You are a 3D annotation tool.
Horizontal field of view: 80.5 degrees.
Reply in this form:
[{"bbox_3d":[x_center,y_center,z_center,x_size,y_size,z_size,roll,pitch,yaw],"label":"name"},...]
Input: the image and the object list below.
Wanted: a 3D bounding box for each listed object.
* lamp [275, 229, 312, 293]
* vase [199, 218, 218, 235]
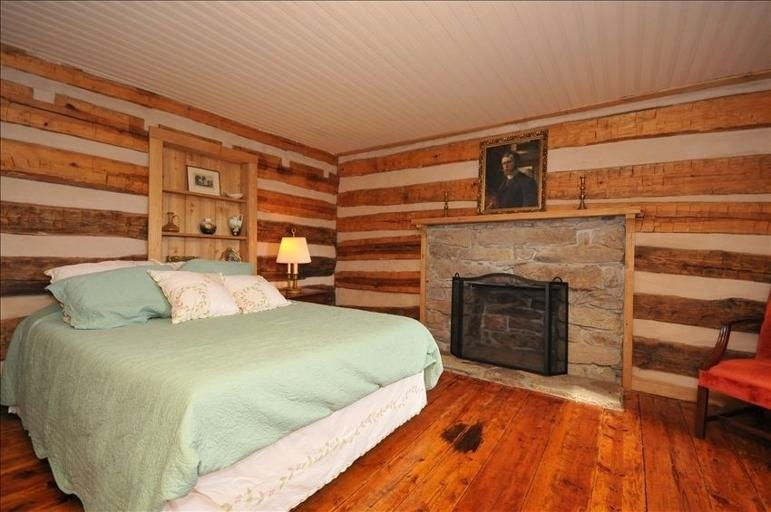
[{"bbox_3d":[-1.187,0.055,5.849,0.405,0.853,0.498,0,3,-17],"label":"lamp"},{"bbox_3d":[-2.011,-0.334,5.245,0.138,0.199,0.248,2,2,28],"label":"vase"}]
